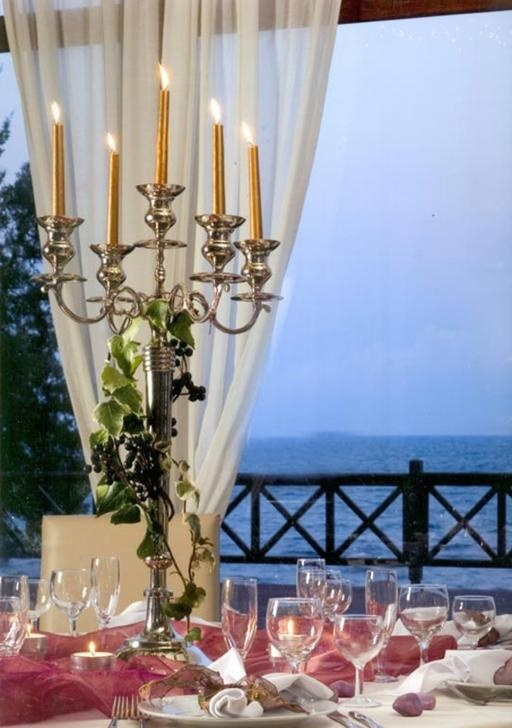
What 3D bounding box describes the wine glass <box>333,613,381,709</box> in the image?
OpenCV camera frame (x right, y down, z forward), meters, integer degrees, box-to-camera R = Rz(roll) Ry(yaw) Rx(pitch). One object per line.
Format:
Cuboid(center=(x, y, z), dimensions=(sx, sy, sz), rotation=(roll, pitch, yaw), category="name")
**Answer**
Cuboid(center=(0.161, 0.469, 2.166), dimensions=(0.076, 0.153, 0.179), rotation=(-1, 2, 1), category="wine glass")
